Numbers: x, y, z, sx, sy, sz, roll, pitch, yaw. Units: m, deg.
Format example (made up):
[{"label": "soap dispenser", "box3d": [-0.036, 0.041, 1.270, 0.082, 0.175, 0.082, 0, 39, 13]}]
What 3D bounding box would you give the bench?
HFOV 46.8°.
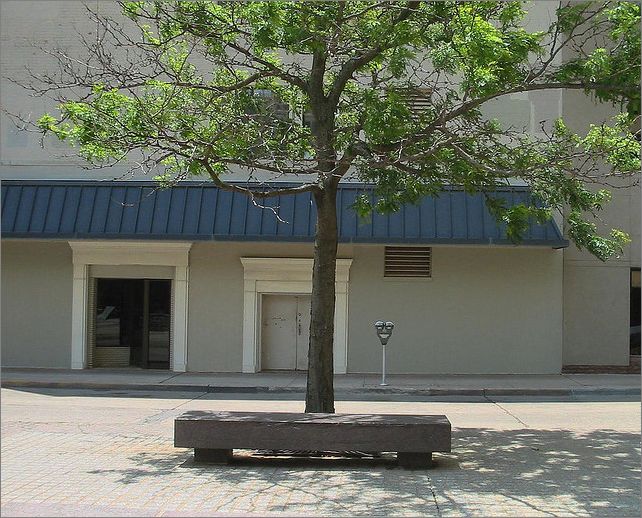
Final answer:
[{"label": "bench", "box3d": [-0.122, 2.684, 10.922, 3.974, 0.867, 0.620, -2, -7, 1]}]
